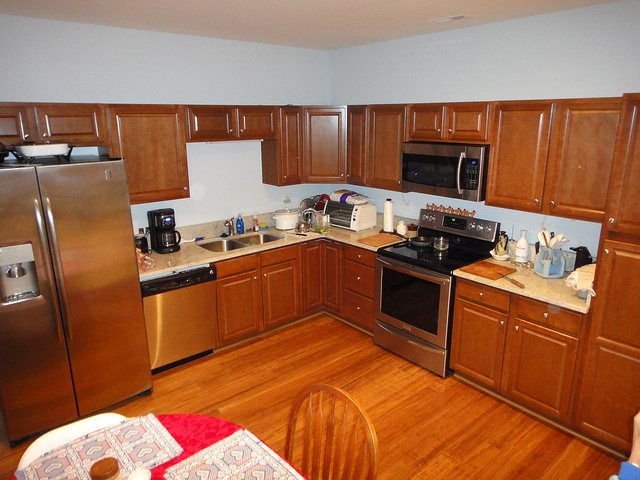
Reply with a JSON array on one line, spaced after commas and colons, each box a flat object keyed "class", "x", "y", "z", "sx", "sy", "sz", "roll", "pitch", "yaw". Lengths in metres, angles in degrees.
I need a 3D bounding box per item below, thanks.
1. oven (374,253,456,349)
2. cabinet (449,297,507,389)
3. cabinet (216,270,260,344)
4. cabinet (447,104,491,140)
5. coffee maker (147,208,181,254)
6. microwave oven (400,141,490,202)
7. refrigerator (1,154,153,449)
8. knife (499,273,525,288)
[{"class": "oven", "x": 0.914, "y": 0.565, "z": 4.282, "sx": 0.570, "sy": 0.866, "sz": 0.663, "roll": -7, "pitch": 17, "yaw": -31}, {"class": "cabinet", "x": 1.595, "y": 0.892, "z": 4.139, "sx": 0.511, "sy": 0.879, "sz": 0.582, "roll": 18, "pitch": 19, "yaw": 42}, {"class": "cabinet", "x": -0.875, "y": 0.649, "z": 4.714, "sx": 0.418, "sy": 0.722, "sz": 0.415, "roll": -8, "pitch": 20, "yaw": -33}, {"class": "cabinet", "x": 1.433, "y": -1.129, "z": 4.207, "sx": 0.451, "sy": 0.367, "sz": 0.244, "roll": 14, "pitch": 24, "yaw": 41}, {"class": "coffee maker", "x": -1.598, "y": -0.096, "z": 4.573, "sx": 0.282, "sy": 0.421, "sz": 0.240, "roll": -8, "pitch": 14, "yaw": -28}, {"class": "microwave oven", "x": 1.197, "y": -0.702, "z": 4.381, "sx": 0.177, "sy": 0.523, "sz": 0.940, "roll": -15, "pitch": 20, "yaw": -37}, {"class": "refrigerator", "x": -2.334, "y": 0.390, "z": 4.003, "sx": 1.354, "sy": 2.262, "sz": 0.929, "roll": -9, "pitch": 20, "yaw": -38}, {"class": "knife", "x": 1.639, "y": 0.350, "z": 3.704, "sx": 0.024, "sy": 0.020, "sz": 0.166, "roll": -19, "pitch": 30, "yaw": -19}]
